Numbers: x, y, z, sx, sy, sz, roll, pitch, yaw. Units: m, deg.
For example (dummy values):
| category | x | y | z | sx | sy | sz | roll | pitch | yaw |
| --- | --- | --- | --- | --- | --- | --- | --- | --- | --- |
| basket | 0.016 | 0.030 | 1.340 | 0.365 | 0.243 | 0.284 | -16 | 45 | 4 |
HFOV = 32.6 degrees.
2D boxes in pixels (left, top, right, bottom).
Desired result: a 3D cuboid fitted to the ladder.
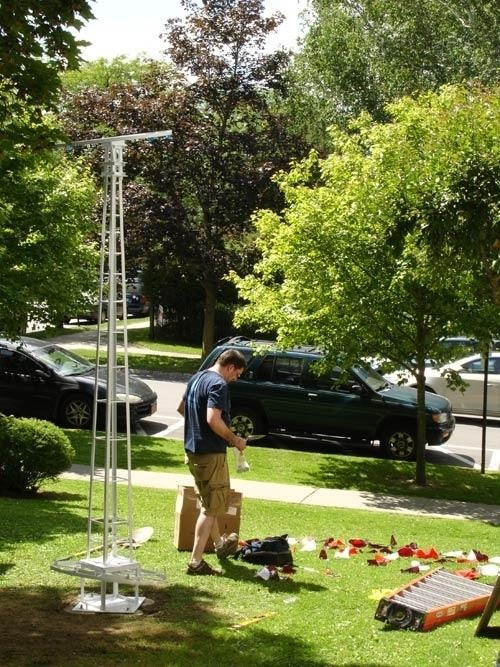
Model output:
| category | x | y | z | sx | sy | sz | roll | pitch | yaw |
| --- | --- | --- | --- | --- | --- | --- | --- | --- | --- |
| ladder | 1.252 | 1.780 | 5.610 | 0.533 | 0.179 | 0.941 | 4 | -2 | 34 |

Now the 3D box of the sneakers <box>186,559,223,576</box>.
| category | x | y | z | sx | sy | sz | roll | pitch | yaw |
| --- | --- | --- | --- | --- | --- | --- | --- | --- | --- |
| sneakers | -0.353 | 1.727 | 6.285 | 0.297 | 0.106 | 0.094 | 0 | 5 | -15 |

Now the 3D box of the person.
| category | x | y | z | sx | sy | sz | roll | pitch | yaw |
| --- | --- | --- | --- | --- | --- | --- | --- | --- | --- |
| person | -0.297 | 0.940 | 6.458 | 0.569 | 1.643 | 0.712 | 7 | -1 | -2 |

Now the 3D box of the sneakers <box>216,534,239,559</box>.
| category | x | y | z | sx | sy | sz | roll | pitch | yaw |
| --- | --- | --- | --- | --- | --- | --- | --- | --- | --- |
| sneakers | -0.141 | 1.675 | 6.718 | 0.102 | 0.116 | 0.255 | 6 | 36 | 37 |

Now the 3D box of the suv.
| category | x | y | z | sx | sy | sz | roll | pitch | yaw |
| --- | --- | --- | --- | --- | --- | --- | --- | --- | --- |
| suv | 1.313 | 1.110 | 14.382 | 4.363 | 1.521 | 1.796 | 0 | 4 | 7 |
